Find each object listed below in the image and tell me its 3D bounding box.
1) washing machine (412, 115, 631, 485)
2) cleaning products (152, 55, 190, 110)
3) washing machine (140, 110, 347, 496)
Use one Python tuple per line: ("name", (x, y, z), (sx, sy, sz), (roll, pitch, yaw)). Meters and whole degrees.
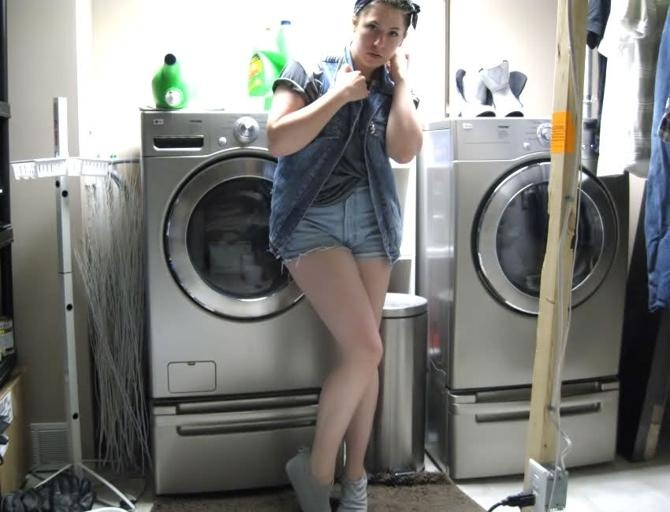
("washing machine", (0.808, 0.168, 2.396), (0.829, 1.501, 0.386), (-2, 9, -2))
("cleaning products", (-0.648, -0.681, 2.180), (0.138, 0.221, 0.089), (-5, 9, -18))
("washing machine", (-0.411, 0.248, 2.229), (0.669, 1.542, 0.701), (-1, 9, -18))
